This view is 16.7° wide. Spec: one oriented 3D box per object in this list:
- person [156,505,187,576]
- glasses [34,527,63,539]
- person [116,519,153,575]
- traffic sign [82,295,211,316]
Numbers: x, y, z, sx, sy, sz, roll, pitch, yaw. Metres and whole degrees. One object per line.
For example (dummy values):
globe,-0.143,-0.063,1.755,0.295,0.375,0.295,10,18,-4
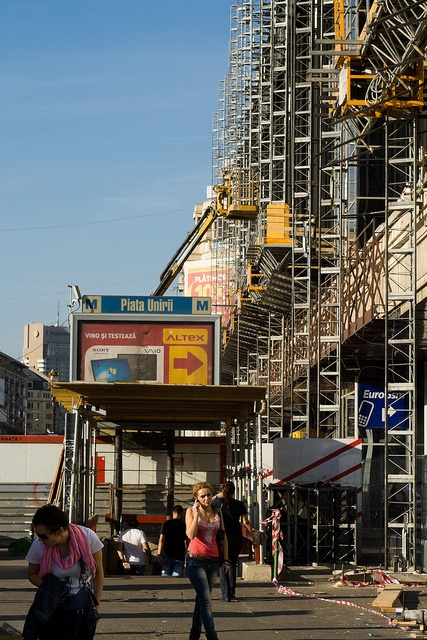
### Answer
person,-0.623,3.342,21.277,0.397,1.443,0.363,4,20,-6
glasses,-1.479,1.865,12.553,0.238,0.087,0.134,-10,-13,42
person,-1.219,3.401,21.737,0.457,0.841,0.741,0,-9,-3
traffic sign,-1.388,-0.224,29.585,2.636,0.488,0.785,-2,-10,9
